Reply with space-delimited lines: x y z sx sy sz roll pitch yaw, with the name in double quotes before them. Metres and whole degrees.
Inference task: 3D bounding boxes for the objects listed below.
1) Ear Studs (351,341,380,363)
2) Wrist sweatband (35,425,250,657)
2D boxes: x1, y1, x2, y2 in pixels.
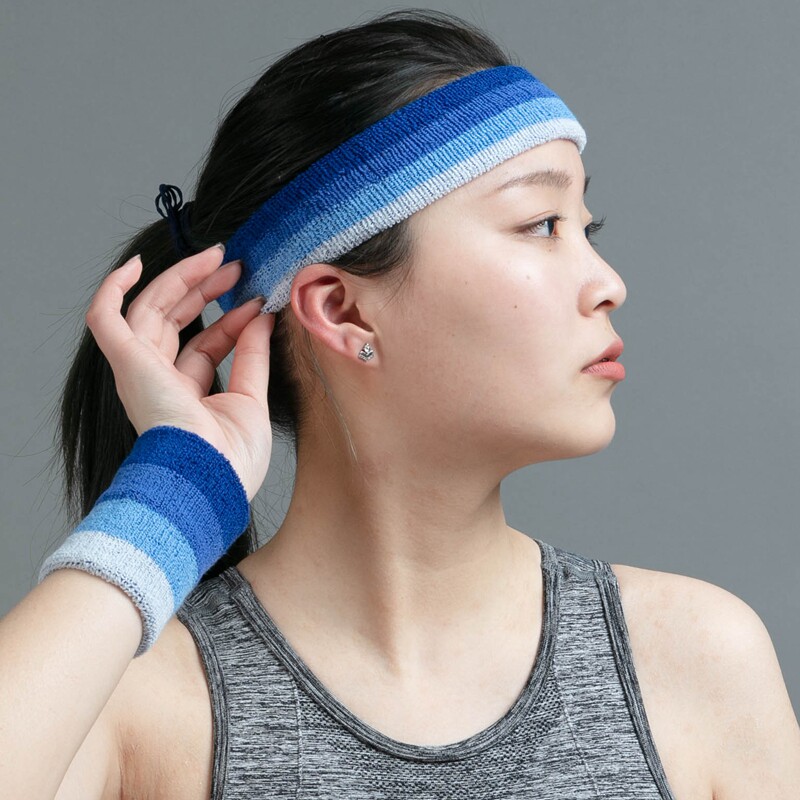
"Ear Studs" -0.040 -0.057 1.373 0.024 0.006 0.024 11 96 31
"Wrist sweatband" -0.286 0.164 1.302 0.166 0.147 0.230 46 51 -10
